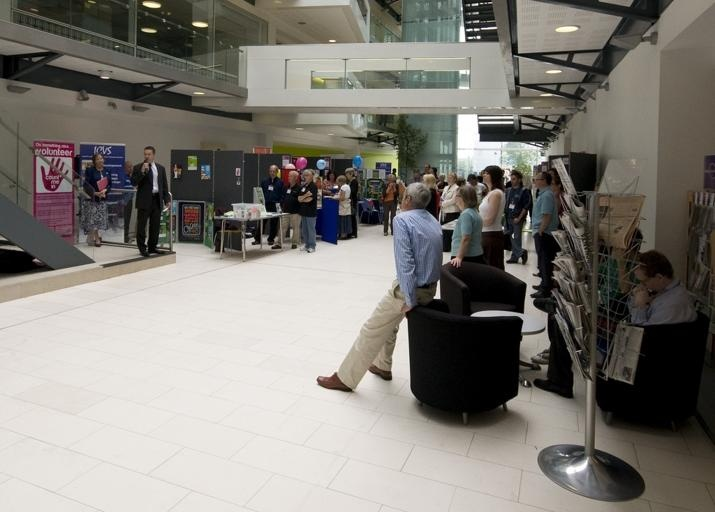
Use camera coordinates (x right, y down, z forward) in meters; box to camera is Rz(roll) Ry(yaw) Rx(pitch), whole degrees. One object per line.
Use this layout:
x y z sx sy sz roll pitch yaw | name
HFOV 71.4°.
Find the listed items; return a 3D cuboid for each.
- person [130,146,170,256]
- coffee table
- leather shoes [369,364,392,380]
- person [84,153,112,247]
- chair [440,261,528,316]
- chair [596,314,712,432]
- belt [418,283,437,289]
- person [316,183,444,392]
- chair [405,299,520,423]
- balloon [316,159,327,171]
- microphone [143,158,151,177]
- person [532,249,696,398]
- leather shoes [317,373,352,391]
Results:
-3.760 -0.986 9.088 0.634 1.950 0.428 -5 15 -22 | person
1.617 0.943 4.826 0.475 0.372 0.486 -26 -13 38 | coffee table
0.216 1.113 4.767 0.096 0.109 0.224 2 13 -38 | leather shoes
-4.602 -0.913 8.801 0.420 1.202 1.660 -6 16 -26 | person
1.291 0.331 5.269 0.670 0.782 0.668 0 -1 -21 | chair
2.340 0.926 3.963 0.851 1.079 0.831 0 -3 18 | chair
0.588 0.243 4.088 0.065 0.047 0.091 -4 2 28 | belt
0.283 0.301 4.342 0.858 1.866 0.584 8 15 28 | person
0.871 0.855 4.259 0.804 0.855 0.916 -7 8 -36 | chair
-1.172 -2.973 16.132 0.326 0.393 0.323 -4 13 0 | balloon
-3.746 -1.582 8.839 0.074 0.225 0.201 3 14 9 | microphone
2.004 0.576 4.677 1.363 1.590 1.075 1 3 11 | person
-0.209 1.122 4.594 0.354 0.163 0.135 9 1 25 | leather shoes
